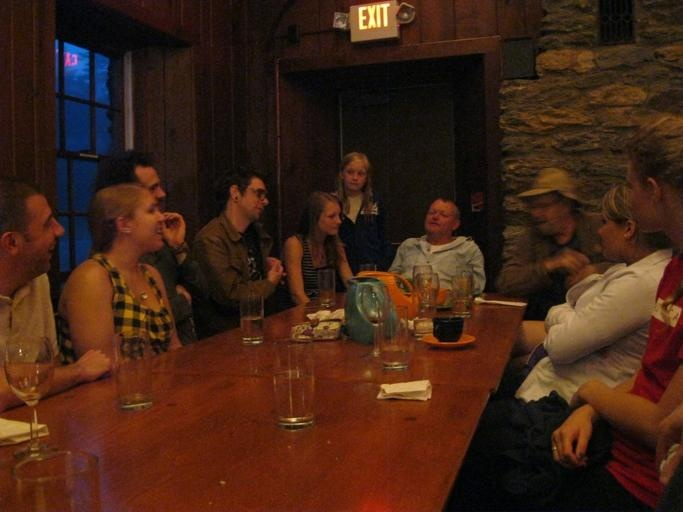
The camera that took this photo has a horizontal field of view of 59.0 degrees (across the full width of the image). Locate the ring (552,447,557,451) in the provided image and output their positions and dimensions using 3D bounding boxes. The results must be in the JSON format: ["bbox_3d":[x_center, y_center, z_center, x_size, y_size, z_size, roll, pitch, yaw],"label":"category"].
[{"bbox_3d":[0.619,0.560,1.751,0.009,0.004,0.009,-1,2,0],"label":"ring"}]

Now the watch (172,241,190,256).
[{"bbox_3d":[-0.868,-0.039,3.238,0.067,0.052,0.087,-26,23,-37],"label":"watch"}]

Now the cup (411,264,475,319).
[{"bbox_3d":[0.426,0.171,2.734,0.183,0.245,0.346,-3,-4,40],"label":"cup"}]

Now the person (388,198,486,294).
[{"bbox_3d":[0.643,-0.066,3.885,0.585,0.831,0.462,2,-26,24],"label":"person"}]

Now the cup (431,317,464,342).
[{"bbox_3d":[0.387,0.263,2.197,0.097,0.066,0.080,-5,2,-11],"label":"cup"}]

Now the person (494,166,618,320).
[{"bbox_3d":[0.898,-0.047,2.495,0.421,0.820,0.342,-19,36,-18],"label":"person"}]

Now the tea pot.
[{"bbox_3d":[0.095,0.198,2.112,0.177,0.235,0.240,1,2,-37],"label":"tea pot"}]
